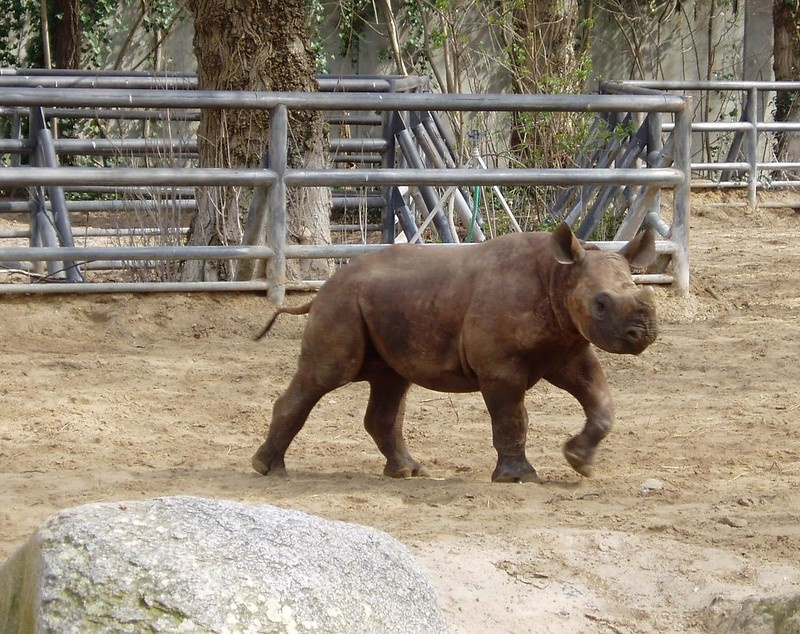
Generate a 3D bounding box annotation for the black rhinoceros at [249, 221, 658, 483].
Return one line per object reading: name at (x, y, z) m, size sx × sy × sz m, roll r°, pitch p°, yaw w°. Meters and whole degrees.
black rhinoceros at (0.345, 0.204, 7.461) m, size 2.097 × 1.277 × 0.872 m, roll -1°, pitch 1°, yaw 27°
